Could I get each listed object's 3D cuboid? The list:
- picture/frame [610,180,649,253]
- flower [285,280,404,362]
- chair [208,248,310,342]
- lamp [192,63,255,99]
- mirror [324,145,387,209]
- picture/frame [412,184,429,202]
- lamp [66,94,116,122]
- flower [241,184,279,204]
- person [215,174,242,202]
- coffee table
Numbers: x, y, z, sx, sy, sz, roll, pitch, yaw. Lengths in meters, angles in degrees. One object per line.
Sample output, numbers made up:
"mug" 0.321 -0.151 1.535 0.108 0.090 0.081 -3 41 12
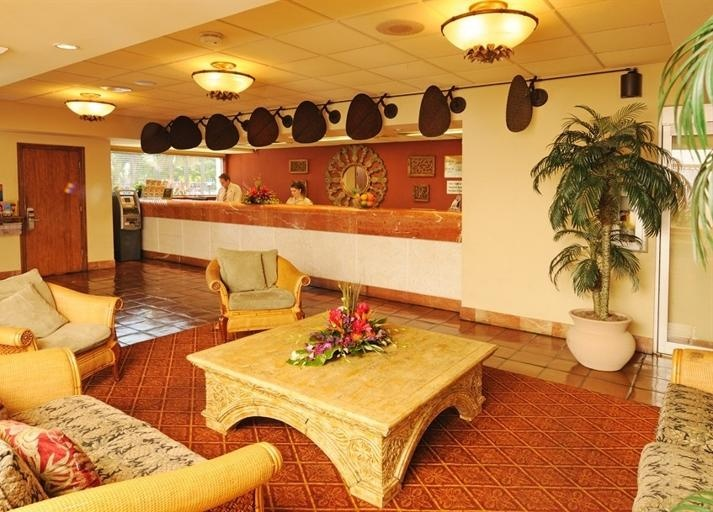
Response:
"picture/frame" 2.819 -0.400 4.899 0.055 0.723 0.699 -10 10 -20
"flower" -0.200 0.501 3.969 0.745 0.426 0.691 -2 0 -40
"chair" -1.257 0.412 5.937 1.306 0.958 1.154 -1 5 -20
"lamp" -1.619 -2.086 5.726 0.509 0.238 0.484 5 10 23
"mirror" -0.017 -1.995 11.855 1.709 1.472 0.415 9 16 37
"picture/frame" 1.529 -1.462 11.066 0.446 0.388 0.049 5 11 36
"lamp" -4.073 -2.267 7.327 0.604 0.266 0.558 1 3 -15
"flower" -1.820 -1.183 9.294 0.574 0.364 0.615 8 14 33
"person" -2.749 -1.461 10.326 0.459 0.554 0.742 -4 12 -17
"coffee table" 0.259 0.964 3.681 1.484 0.387 1.506 4 6 41
